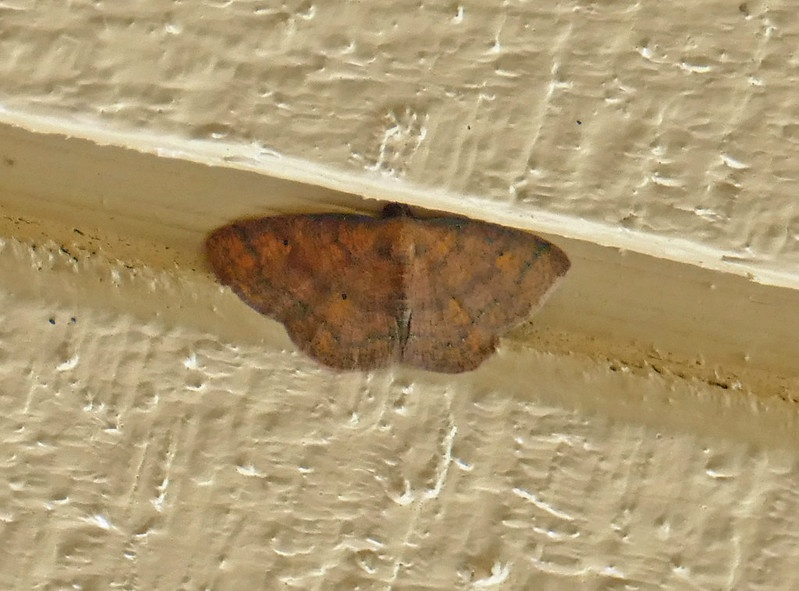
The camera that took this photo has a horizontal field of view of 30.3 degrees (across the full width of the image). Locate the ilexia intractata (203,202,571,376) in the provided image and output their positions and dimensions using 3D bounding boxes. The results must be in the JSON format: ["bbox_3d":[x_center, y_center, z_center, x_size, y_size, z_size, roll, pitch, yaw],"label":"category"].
[{"bbox_3d":[-0.087,-0.068,7.077,1.824,0.171,0.726,4,95,-4],"label":"ilexia intractata"}]
